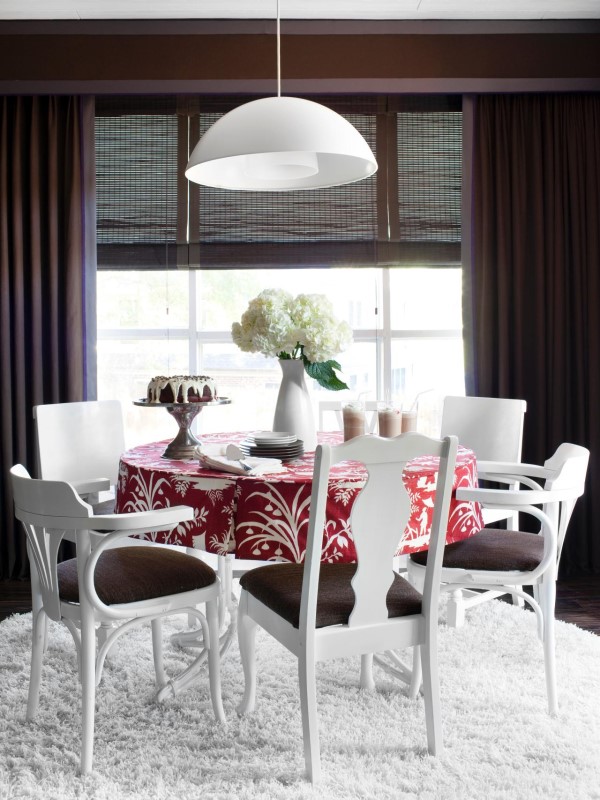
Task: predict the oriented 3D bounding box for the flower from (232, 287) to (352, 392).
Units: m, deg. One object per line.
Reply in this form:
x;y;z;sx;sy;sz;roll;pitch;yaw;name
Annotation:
-0.033;-0.178;2.310;0.348;0.302;0.236;0;4;-4;flower

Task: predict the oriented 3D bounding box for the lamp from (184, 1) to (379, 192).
-0.063;-0.896;2.203;0.554;0.524;0.610;0;4;6;lamp
